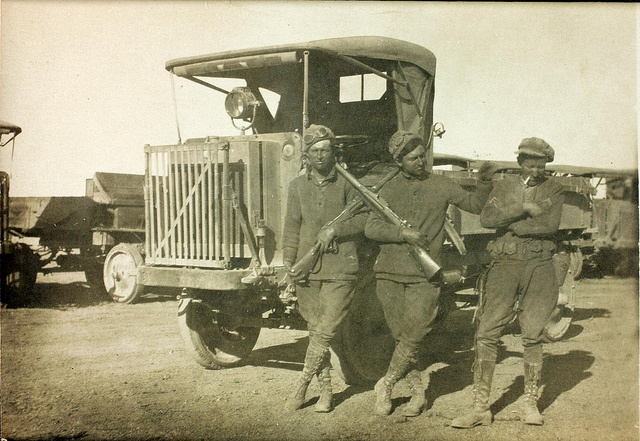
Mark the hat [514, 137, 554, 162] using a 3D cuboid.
[{"bbox_3d":[2.599,-0.832,7.401,0.412,0.298,0.244,1,6,13],"label":"hat"}]

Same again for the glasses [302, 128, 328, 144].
[{"bbox_3d":[-0.066,-1.038,7.575,0.375,0.232,0.176,5,9,42],"label":"glasses"}]

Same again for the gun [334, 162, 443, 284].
[{"bbox_3d":[0.838,0.063,7.470,0.187,0.464,1.895,-26,59,-24],"label":"gun"}]

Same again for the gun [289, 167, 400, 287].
[{"bbox_3d":[0.273,0.096,7.546,0.458,1.980,0.124,41,-17,30],"label":"gun"}]

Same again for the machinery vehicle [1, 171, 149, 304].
[{"bbox_3d":[-5.910,0.310,14.881,3.614,2.929,2.753,-1,-2,14],"label":"machinery vehicle"}]

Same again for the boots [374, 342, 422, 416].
[{"bbox_3d":[1.007,1.932,7.497,0.561,0.814,0.742,5,4,32],"label":"boots"}]

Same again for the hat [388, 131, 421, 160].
[{"bbox_3d":[1.031,-0.923,7.537,0.356,0.250,0.328,-21,3,30],"label":"hat"}]
